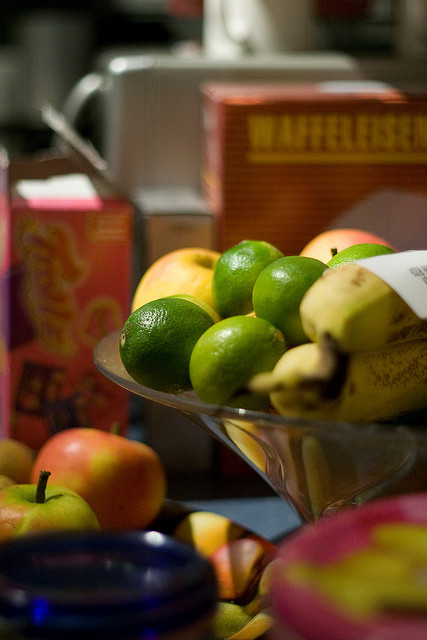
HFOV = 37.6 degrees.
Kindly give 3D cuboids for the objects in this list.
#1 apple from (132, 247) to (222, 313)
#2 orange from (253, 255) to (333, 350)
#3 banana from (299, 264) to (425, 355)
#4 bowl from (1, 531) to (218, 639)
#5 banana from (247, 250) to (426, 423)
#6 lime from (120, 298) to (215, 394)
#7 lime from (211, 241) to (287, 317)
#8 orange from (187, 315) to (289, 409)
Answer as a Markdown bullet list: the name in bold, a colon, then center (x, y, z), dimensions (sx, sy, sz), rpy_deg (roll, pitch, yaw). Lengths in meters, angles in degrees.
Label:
- **apple**: center (-0.020, -0.030, 0.477), dimensions (0.058, 0.048, 0.055), rpy_deg (-8, 2, 13)
- **orange**: center (0.040, -0.016, 0.330), dimensions (0.036, 0.036, 0.034), rpy_deg (-5, 9, -38)
- **banana**: center (0.059, -0.004, 0.257), dimensions (0.048, 0.036, 0.052), rpy_deg (-3, 15, -15)
- **bowl**: center (-0.023, 0.053, 0.124), dimensions (0.033, 0.020, 0.032), rpy_deg (1, -2, 0)
- **banana**: center (0.060, 0.010, 0.255), dimensions (0.039, 0.047, 0.139), rpy_deg (5, 1, 29)
- **lime**: center (-0.013, 0.014, 0.355), dimensions (0.076, 0.050, 0.053), rpy_deg (7, -9, -20)
- **lime**: center (0.015, -0.030, 0.390), dimensions (0.038, 0.046, 0.041), rpy_deg (-9, 23, -39)
- **orange**: center (0.011, 0.022, 0.342), dimensions (0.045, 0.048, 0.045), rpy_deg (2, -16, 43)
